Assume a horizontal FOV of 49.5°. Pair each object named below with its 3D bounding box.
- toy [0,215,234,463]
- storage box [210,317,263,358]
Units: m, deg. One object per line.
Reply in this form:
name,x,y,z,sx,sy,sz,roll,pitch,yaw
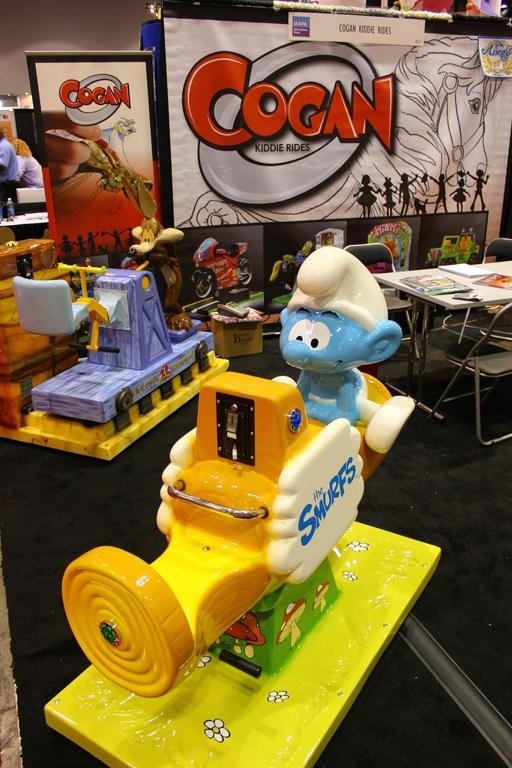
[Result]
toy,-0.830,-0.314,3.819,0.774,0.987,1.660,8,22,24
storage box,-0.163,-0.439,4.924,0.374,0.345,0.363,-4,11,-17
